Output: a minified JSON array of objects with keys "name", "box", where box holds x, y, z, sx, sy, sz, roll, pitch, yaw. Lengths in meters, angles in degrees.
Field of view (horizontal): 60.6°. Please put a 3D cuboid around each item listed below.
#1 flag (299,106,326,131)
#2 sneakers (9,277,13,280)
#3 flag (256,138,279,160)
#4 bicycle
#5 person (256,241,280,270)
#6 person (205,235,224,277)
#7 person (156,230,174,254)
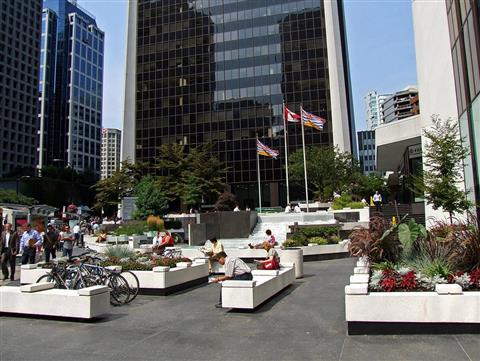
[{"name":"flag","box":[6.356,-5.591,36.775,1.628,1.959,2.197,-4,-3,-2]},{"name":"sneakers","box":[-9.225,4.018,16.665,0.110,0.087,0.112,0,0,36]},{"name":"flag","box":[3.662,-3.995,53.302,3.136,3.087,0.506,11,2,7]},{"name":"bicycle","box":[-4.383,2.905,12.597,3.071,1.581,1.453,0,-4,10]},{"name":"person","box":[0.912,2.719,14.188,0.825,1.098,0.638,3,-20,-10]},{"name":"person","box":[-1.079,3.031,16.932,0.762,1.416,0.649,0,3,-39]},{"name":"person","box":[-3.809,3.176,20.707,0.777,1.348,0.482,-7,16,-19]}]
